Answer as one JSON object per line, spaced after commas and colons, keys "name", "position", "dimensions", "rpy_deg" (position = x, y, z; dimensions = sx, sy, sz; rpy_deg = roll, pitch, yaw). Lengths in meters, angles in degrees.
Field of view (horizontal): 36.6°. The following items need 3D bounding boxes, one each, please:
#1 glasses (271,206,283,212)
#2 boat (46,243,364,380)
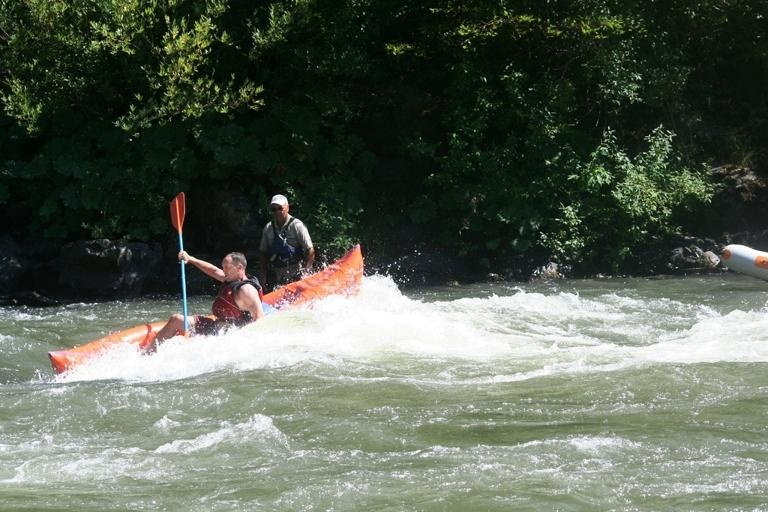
{"name": "glasses", "position": [-1.895, -0.883, 21.004], "dimensions": [0.127, 0.038, 0.124], "rpy_deg": [-14, -8, 12]}
{"name": "boat", "position": [-2.349, 1.454, 20.133], "dimensions": [6.386, 1.244, 1.848], "rpy_deg": [-22, 9, -36]}
